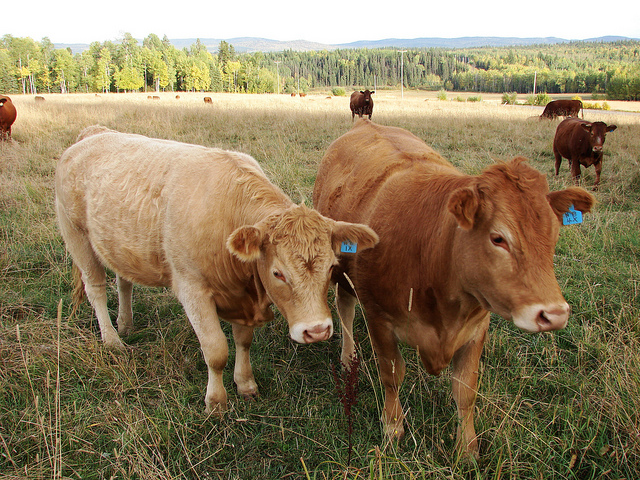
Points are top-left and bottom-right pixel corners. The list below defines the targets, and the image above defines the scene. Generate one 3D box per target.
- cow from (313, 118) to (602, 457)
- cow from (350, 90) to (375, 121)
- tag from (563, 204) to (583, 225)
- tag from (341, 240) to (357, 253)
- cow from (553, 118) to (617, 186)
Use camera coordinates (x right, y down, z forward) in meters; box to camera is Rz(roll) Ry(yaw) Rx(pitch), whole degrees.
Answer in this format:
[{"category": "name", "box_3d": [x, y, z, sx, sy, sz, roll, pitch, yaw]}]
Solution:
[{"category": "cow", "box_3d": [0.987, 0.522, 5.989, 1.454, 3.449, 5.000, -4, 16, -14]}, {"category": "cow", "box_3d": [2.000, -6.568, 25.933, 0.901, 1.270, 3.008, -2, 23, 1]}, {"category": "tag", "box_3d": [2.115, -0.214, 4.453, 0.017, 0.188, 0.117, -17, 22, -33]}, {"category": "tag", "box_3d": [0.271, 0.068, 4.954, 0.094, 0.107, 0.015, 2, 19, 9]}, {"category": "cow", "box_3d": [6.030, -2.005, 12.275, 0.756, 1.543, 2.673, -4, 13, 8]}]
